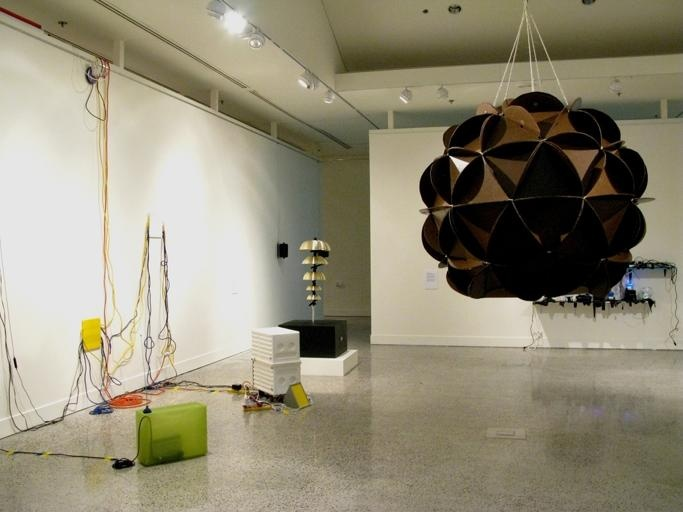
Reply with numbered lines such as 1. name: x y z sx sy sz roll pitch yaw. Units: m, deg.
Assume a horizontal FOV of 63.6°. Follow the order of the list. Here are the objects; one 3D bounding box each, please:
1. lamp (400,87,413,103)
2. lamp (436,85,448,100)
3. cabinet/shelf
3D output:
1. lamp: 1.012 -2.551 8.686 0.133 0.175 0.290 1 3 24
2. lamp: 1.565 -2.542 8.534 0.128 0.186 0.183 2 3 19
3. cabinet/shelf: 4.572 0.550 9.189 2.033 0.947 0.593 -1 3 -1
